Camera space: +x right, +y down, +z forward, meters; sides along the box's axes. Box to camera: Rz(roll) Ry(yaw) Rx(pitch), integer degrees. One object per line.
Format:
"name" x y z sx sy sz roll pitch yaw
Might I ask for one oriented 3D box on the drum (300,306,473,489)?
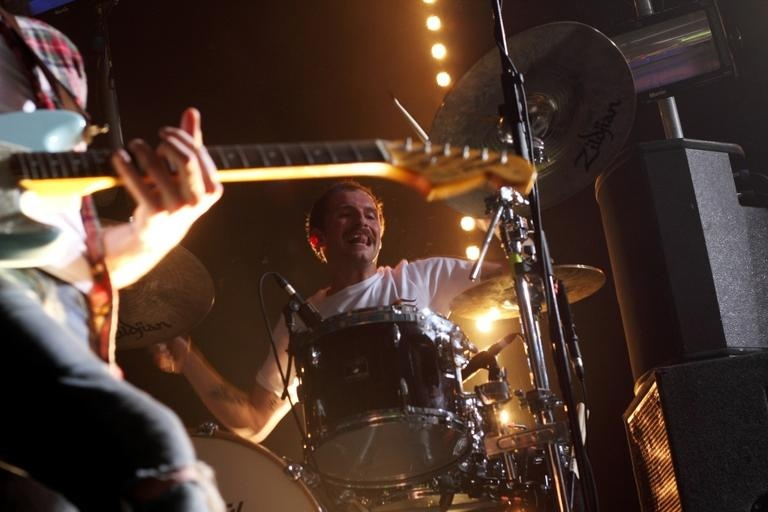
"drum" 0.021 0.639 3.176 0.770 0.534 0.814 -2 -48 -2

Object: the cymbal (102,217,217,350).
"cymbal" -1.091 0.221 3.499 0.555 0.128 0.531 -1 -60 -11

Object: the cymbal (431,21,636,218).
"cymbal" 0.766 -0.603 3.453 0.956 0.986 0.250 30 18 31

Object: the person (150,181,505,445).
"person" -0.254 0.331 3.642 1.513 0.959 0.514 -26 -48 -7

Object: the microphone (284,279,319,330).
"microphone" -0.427 0.259 3.673 0.077 0.289 0.106 -44 -28 10

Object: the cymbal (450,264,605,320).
"cymbal" 0.636 0.199 3.509 0.432 0.056 0.423 6 -26 -42
